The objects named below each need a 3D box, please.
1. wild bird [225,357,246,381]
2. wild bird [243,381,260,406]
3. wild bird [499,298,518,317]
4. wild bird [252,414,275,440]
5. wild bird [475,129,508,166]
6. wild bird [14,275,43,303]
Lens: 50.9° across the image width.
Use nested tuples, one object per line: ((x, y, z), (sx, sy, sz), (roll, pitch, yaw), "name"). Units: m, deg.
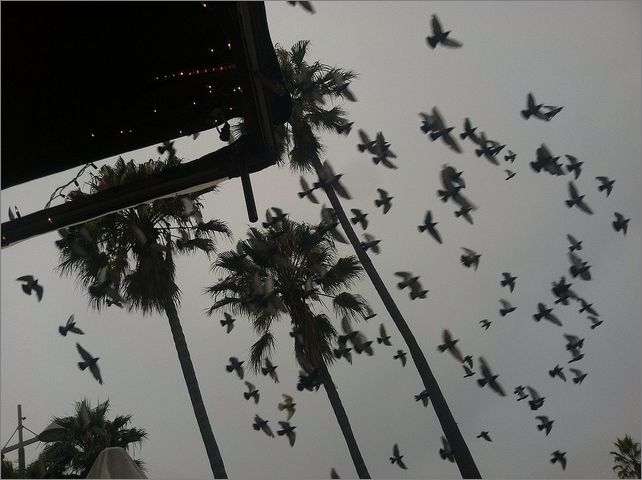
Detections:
((-3.297, 4.779, 25.696), (0.671, 0.848, 0.885), (2, -53, -13), "wild bird")
((-2.663, 5.757, 25.594), (0.551, 1.382, 0.799), (-4, -51, -7), "wild bird")
((7.103, 2.544, 25.846), (0.677, 1.117, 0.276), (-3, -15, 8), "wild bird")
((-2.166, 6.859, 24.932), (0.493, 1.090, 0.894), (-27, -52, 12), "wild bird")
((6.109, -3.372, 24.845), (1.121, 0.438, 1.283), (-29, -93, -5), "wild bird")
((-9.189, 1.498, 21.243), (0.803, 1.047, 0.491), (8, -53, -17), "wild bird")
